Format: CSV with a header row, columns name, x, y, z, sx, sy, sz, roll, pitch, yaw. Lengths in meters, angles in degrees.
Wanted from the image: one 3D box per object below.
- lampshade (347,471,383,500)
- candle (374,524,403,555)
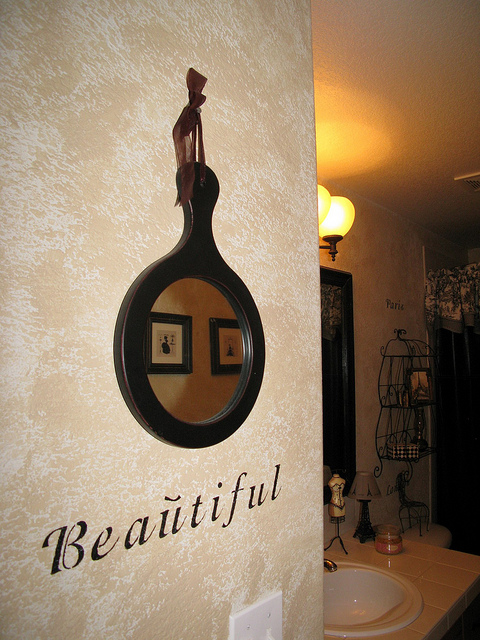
name,x,y,z,sx,sy,sz,roll,pitch,yaw
lampshade,0.505,0.642,1.934,0.092,0.086,0.113,0,0,7
candle,0.564,0.832,1.831,0.101,0.095,0.125,-2,-6,19
